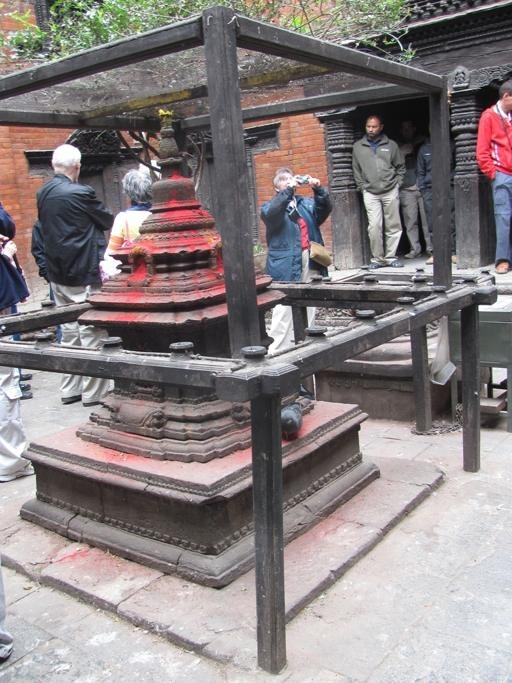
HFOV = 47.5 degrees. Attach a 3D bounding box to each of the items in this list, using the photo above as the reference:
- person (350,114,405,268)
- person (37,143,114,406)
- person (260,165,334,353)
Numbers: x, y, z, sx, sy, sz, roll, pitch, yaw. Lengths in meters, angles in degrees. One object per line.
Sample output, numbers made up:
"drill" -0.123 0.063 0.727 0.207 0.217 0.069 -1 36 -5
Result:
"person" 1.847 -2.116 8.770 0.721 1.976 0.368 -3 11 8
"person" -1.624 -0.576 5.410 0.575 2.379 0.623 -11 12 -30
"person" 0.354 -0.725 5.058 0.627 1.576 1.007 -4 10 7
